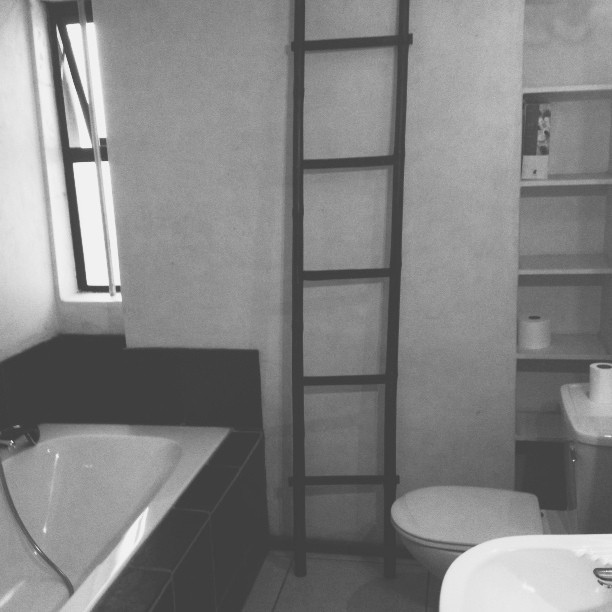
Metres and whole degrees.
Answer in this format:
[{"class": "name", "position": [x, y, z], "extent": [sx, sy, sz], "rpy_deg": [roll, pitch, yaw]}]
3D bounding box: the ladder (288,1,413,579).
[{"class": "ladder", "position": [0.138, 0.004, 2.190], "extent": [0.429, 2.015, 0.257], "rpy_deg": [1, 14, 10]}]

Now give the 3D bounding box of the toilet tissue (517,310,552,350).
[{"class": "toilet tissue", "position": [0.824, 0.071, 2.250], "extent": [0.117, 0.127, 0.118], "rpy_deg": [3, 15, 27]}]
